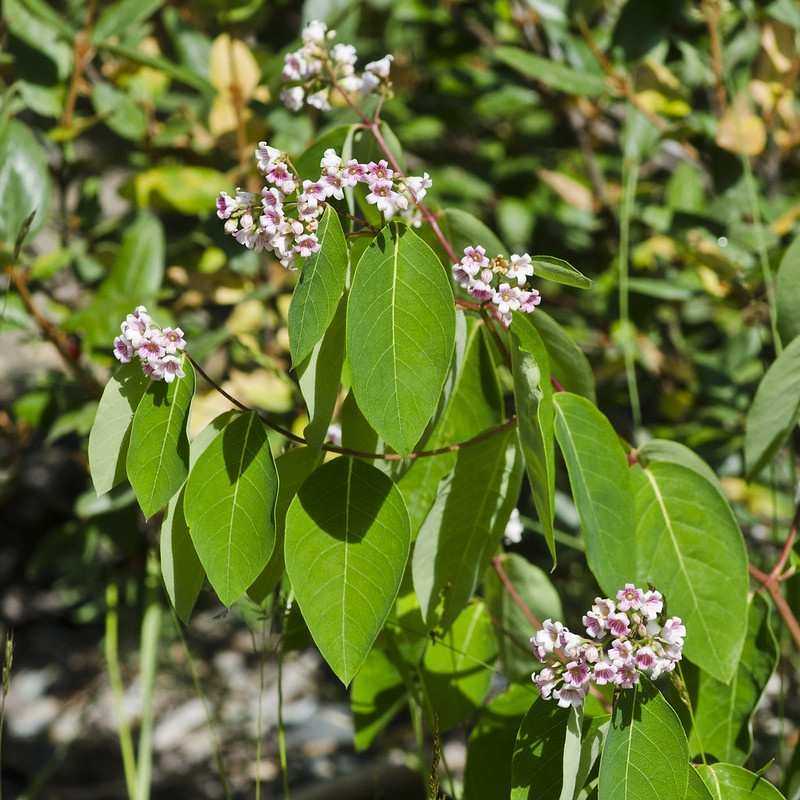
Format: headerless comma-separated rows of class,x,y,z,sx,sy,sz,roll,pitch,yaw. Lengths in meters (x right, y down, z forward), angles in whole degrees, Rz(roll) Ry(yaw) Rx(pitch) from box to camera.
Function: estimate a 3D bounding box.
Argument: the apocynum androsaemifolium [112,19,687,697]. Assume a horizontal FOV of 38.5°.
apocynum androsaemifolium,0.051,-0.025,1.242,0.646,0.595,0.425,21,27,18
